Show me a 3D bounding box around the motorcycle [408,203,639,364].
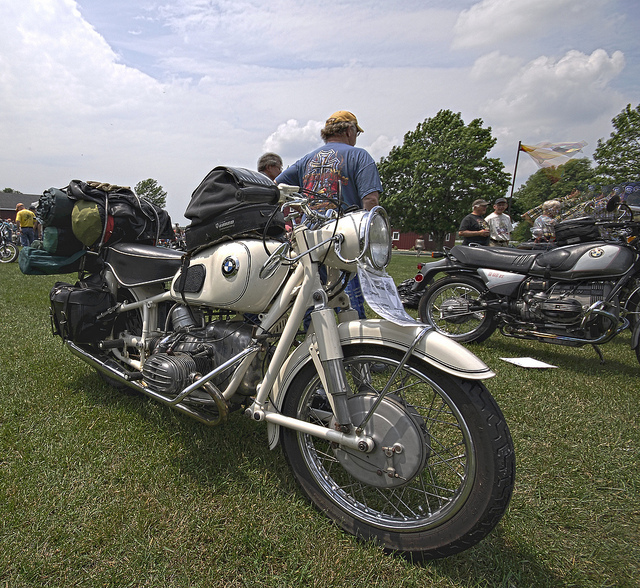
[{"bbox_3d":[2.221,-0.057,5.884,2.921,1.507,1.586,2,-6,37],"label":"motorcycle"}]

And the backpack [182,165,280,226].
[{"bbox_3d":[-0.485,-0.577,2.935,0.653,0.368,0.480,-3,3,41],"label":"backpack"}]

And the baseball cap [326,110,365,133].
[{"bbox_3d":[0.176,-1.323,3.656,0.269,0.136,0.358,1,10,1],"label":"baseball cap"}]

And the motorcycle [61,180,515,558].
[{"bbox_3d":[-0.251,0.231,2.675,2.616,1.691,0.751,6,12,28],"label":"motorcycle"}]

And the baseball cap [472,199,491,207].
[{"bbox_3d":[3.142,-1.802,9.393,0.318,0.106,0.199,-3,5,19],"label":"baseball cap"}]

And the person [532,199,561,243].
[{"bbox_3d":[3.126,-0.996,6.630,0.289,0.822,0.429,11,55,24],"label":"person"}]
